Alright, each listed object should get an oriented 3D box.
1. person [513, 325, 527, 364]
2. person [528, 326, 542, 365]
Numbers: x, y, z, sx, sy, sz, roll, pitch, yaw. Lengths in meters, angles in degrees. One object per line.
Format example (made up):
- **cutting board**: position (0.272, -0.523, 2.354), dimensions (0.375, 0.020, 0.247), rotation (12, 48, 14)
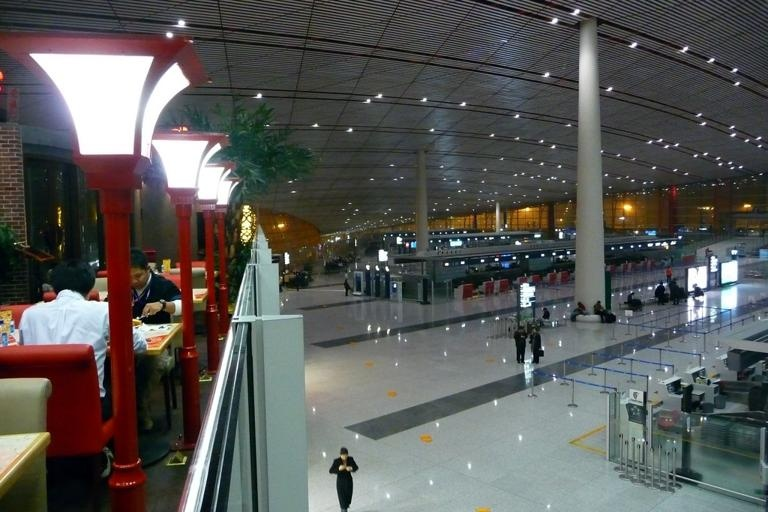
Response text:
- **person**: position (4.487, 2.953, 18.199), dimensions (0.341, 1.191, 0.430), rotation (-4, -1, 11)
- **person**: position (5.024, 2.978, 18.236), dimensions (0.338, 1.145, 0.702), rotation (-4, -1, 16)
